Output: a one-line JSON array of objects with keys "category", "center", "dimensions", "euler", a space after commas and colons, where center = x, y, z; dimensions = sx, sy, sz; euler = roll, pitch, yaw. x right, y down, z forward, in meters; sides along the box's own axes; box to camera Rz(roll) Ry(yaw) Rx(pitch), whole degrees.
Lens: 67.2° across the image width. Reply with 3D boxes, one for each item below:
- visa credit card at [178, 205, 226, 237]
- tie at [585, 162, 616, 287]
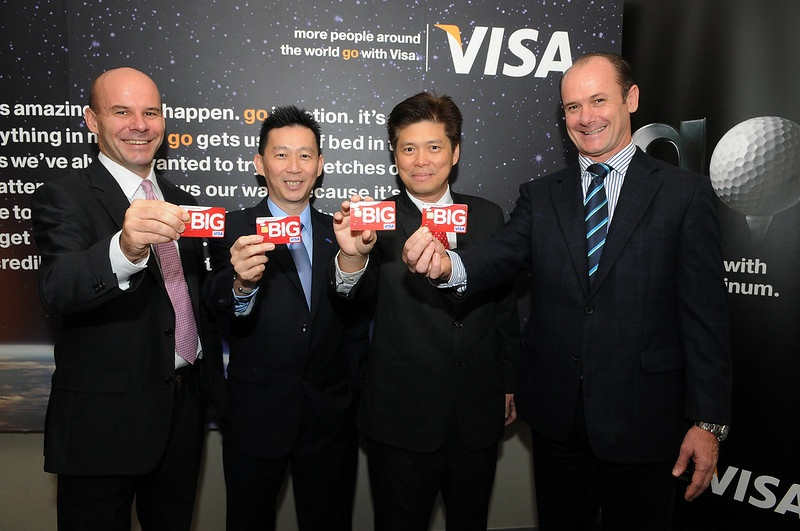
[{"category": "visa credit card", "center": [-1.214, -0.265, 3.680], "dimensions": [0.190, 0.152, 0.011], "euler": [1, -3, -5]}, {"category": "tie", "center": [1.250, -0.281, 3.802], "dimensions": [0.145, 0.827, 0.108], "euler": [-3, -22, 16]}]
